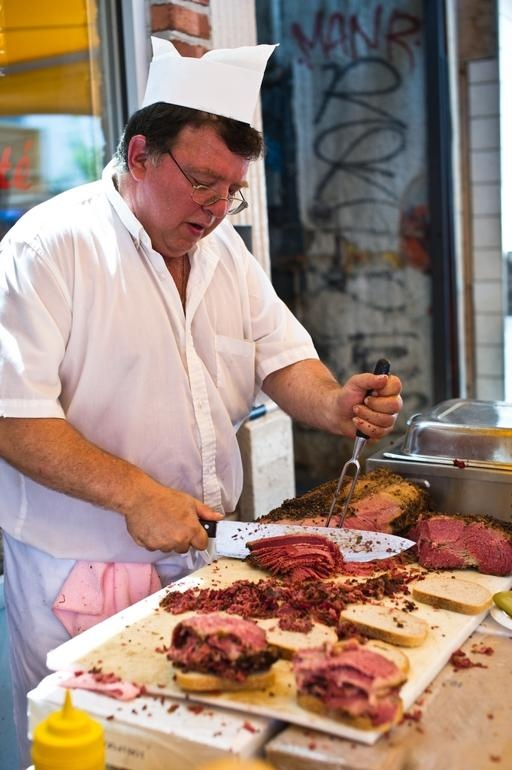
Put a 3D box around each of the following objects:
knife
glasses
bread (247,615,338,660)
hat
[{"bbox_3d":[0.216,0.375,1.788,0.720,0.035,0.163,0,13,4],"label":"knife"},{"bbox_3d":[-0.127,-0.526,1.830,0.045,0.148,0.147,-45,-19,23],"label":"glasses"},{"bbox_3d":[0.082,0.463,1.381,0.137,0.032,0.169,-5,13,-12],"label":"bread"},{"bbox_3d":[-0.115,-0.748,1.893,0.333,0.204,0.237,13,18,-3],"label":"hat"}]
